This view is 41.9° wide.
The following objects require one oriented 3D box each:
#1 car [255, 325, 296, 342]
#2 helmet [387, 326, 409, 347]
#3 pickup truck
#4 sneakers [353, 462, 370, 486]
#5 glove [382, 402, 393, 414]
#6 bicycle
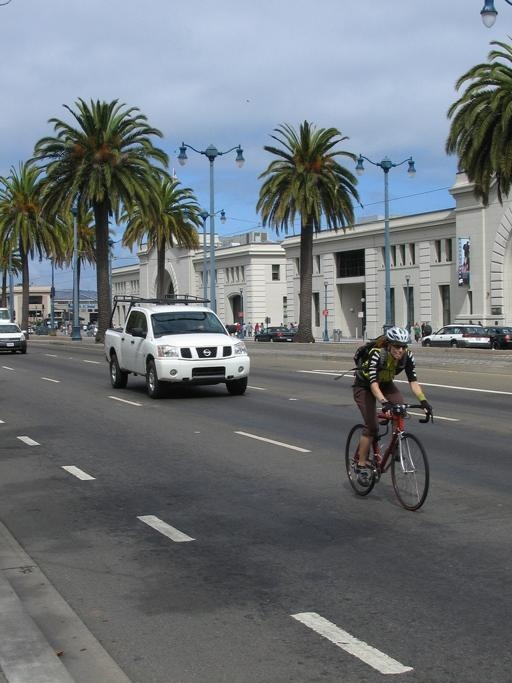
[{"bbox_3d":[1.979,-0.613,66.012,1.968,1.593,4.870,1,-3,-36],"label":"car"},{"bbox_3d":[1.252,-0.034,5.945,0.202,0.179,0.329,-1,-2,11],"label":"helmet"},{"bbox_3d":[-2.258,0.098,17.449,1.860,2.508,4.251,1,-3,-23],"label":"pickup truck"},{"bbox_3d":[1.050,1.271,6.615,0.069,0.296,0.114,-2,-31,-9],"label":"sneakers"},{"bbox_3d":[1.187,0.608,6.068,0.083,0.113,0.227,-1,-2,11],"label":"glove"},{"bbox_3d":[1.223,1.095,6.443,0.308,1.006,1.372,5,-4,-22],"label":"bicycle"}]
